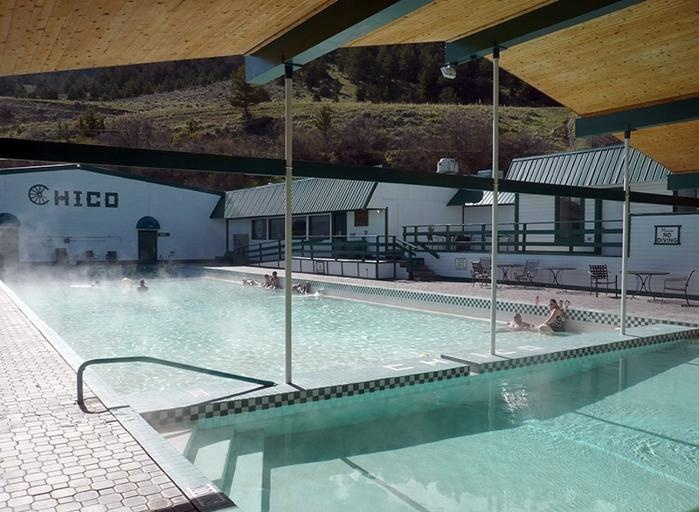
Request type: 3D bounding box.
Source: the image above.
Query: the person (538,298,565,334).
[{"bbox_3d":[4.068,1.199,11.475,0.861,0.619,0.502,1,2,16],"label":"person"}]

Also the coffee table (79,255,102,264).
[{"bbox_3d":[-14.008,-0.008,29.845,1.242,0.411,0.861,-4,6,-35],"label":"coffee table"}]

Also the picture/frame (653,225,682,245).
[{"bbox_3d":[8.614,-0.682,15.027,0.060,0.456,0.683,8,-4,-37],"label":"picture/frame"}]
